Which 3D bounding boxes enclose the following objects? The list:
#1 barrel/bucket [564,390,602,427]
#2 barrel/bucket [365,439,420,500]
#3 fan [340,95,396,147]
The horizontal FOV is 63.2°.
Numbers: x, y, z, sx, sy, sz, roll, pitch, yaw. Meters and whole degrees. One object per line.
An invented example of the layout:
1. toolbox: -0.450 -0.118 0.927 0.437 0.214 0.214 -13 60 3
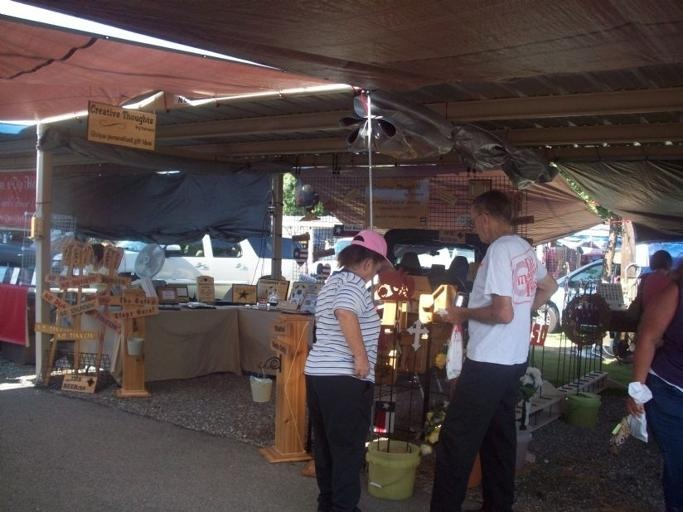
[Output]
1. barrel/bucket: 2.933 1.854 6.791 0.342 0.286 0.383 0 -3 -44
2. barrel/bucket: 0.440 1.756 4.680 0.469 0.346 0.442 4 0 0
3. fan: 0.212 -1.217 5.053 0.491 0.423 0.591 4 3 23
